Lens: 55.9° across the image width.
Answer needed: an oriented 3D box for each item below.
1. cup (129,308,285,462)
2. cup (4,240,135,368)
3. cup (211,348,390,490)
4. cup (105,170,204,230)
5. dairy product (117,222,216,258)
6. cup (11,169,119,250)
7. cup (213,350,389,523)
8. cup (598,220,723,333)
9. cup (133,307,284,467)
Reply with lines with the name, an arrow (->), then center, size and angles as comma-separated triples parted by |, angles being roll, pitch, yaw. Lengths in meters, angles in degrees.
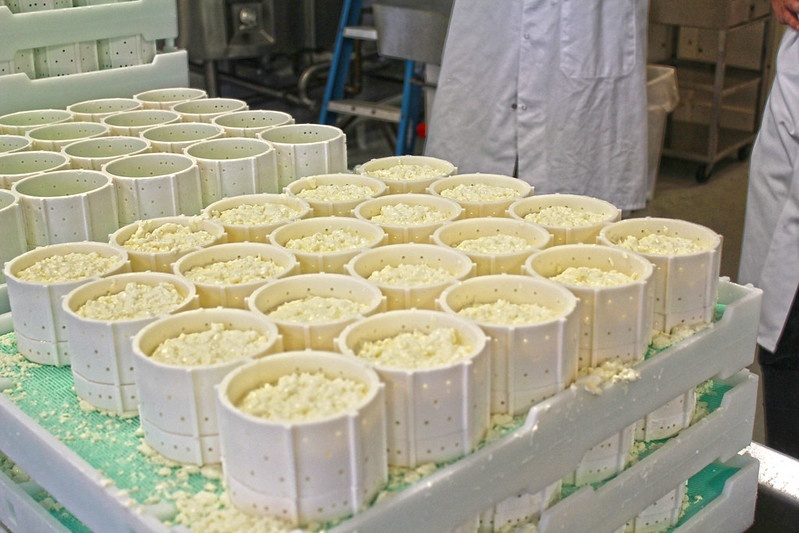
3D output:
cup -> -0.366, 0.281, 1.555 | 0.247, 0.177, 0.242 | -10, -20, -4
cup -> -0.760, 0.109, 1.838 | 0.303, 0.212, 0.289 | 4, 28, -2
cup -> -0.198, 0.301, 1.419 | 0.276, 0.166, 0.263 | 6, 27, -3
cup -> -0.646, -0.182, 2.003 | 0.183, 0.121, 0.175 | -3, 20, 1
dairy product -> -0.562, -0.070, 1.852 | 0.132, 0.041, 0.125 | -12, 27, -22
cup -> -0.863, -0.132, 1.991 | 0.238, 0.165, 0.227 | 3, 25, -1
cup -> -0.144, 0.303, 1.405 | 0.309, 0.184, 0.297 | 0, 26, 0
cup -> 0.630, -0.012, 1.797 | 0.293, 0.203, 0.280 | -3, 25, 1
cup -> -0.372, 0.251, 1.565 | 0.275, 0.198, 0.273 | -1, 15, 0
